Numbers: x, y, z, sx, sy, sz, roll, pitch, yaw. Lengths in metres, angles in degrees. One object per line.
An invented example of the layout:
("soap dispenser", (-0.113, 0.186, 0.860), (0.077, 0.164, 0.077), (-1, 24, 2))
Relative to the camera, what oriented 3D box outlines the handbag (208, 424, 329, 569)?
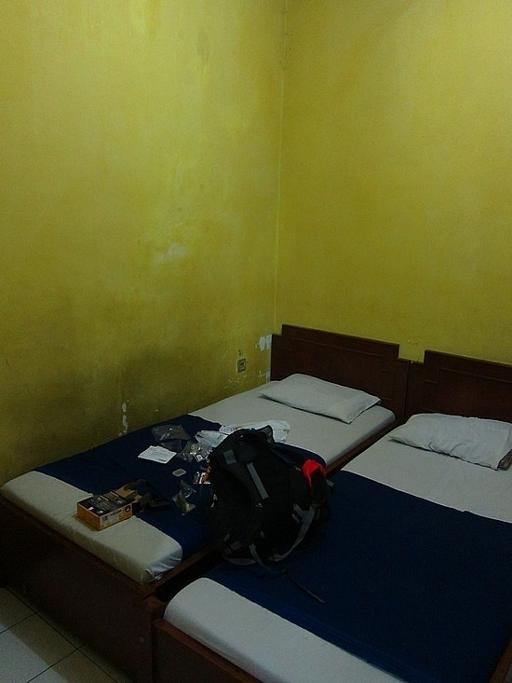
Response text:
("handbag", (0.024, 0.546, 2.000), (0.422, 0.248, 0.530), (14, 25, 31))
